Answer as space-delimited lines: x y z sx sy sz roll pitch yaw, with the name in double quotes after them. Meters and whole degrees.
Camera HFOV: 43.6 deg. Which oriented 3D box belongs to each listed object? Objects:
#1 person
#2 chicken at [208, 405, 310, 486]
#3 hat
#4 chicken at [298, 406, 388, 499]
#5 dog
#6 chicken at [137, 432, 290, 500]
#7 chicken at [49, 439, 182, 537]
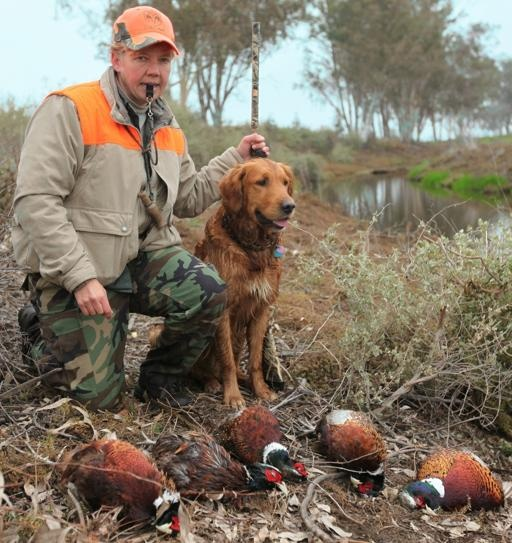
-0.776 -0.391 3.862 1.311 2.413 0.618 -3 7 -37 "person"
0.050 0.901 3.430 0.536 0.265 0.260 34 17 18 "chicken"
-0.645 -1.449 3.779 0.394 0.314 0.259 0 5 -10 "hat"
0.486 0.970 3.479 0.428 0.404 0.205 5 7 41 "chicken"
-0.163 0.013 4.374 0.826 1.504 0.982 0 19 -20 "dog"
-0.200 0.975 3.142 0.520 0.203 0.298 25 25 -10 "chicken"
-0.486 0.982 2.997 0.281 0.324 0.821 -13 18 -42 "chicken"
